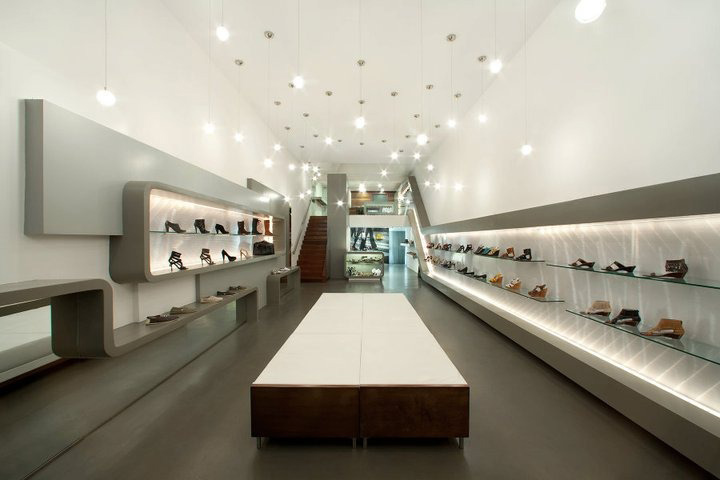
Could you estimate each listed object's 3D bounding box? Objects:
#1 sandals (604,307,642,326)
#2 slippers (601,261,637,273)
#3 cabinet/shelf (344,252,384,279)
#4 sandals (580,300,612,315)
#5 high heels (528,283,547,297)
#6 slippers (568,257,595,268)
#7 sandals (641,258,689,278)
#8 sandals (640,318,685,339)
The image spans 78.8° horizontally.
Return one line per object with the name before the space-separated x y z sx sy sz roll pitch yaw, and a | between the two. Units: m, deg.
sandals | 3.289 0.963 5.462 0.349 0.219 0.238 -3 0 28
slippers | 3.308 0.334 5.590 0.130 0.103 0.274 0 1 -3
cabinet/shelf | 0.170 0.767 13.574 1.347 1.016 0.749 0 -4 3
sandals | 3.107 0.887 5.838 0.151 0.178 0.384 2 -3 -33
high heels | 2.734 0.772 6.766 0.237 0.111 0.151 -8 4 13
slippers | 3.065 0.300 6.029 0.113 0.127 0.313 -2 3 -4
sandals | 3.620 0.330 5.133 0.263 0.173 0.260 0 -1 2
sandals | 3.499 1.014 5.161 0.528 0.272 0.193 -1 -4 28
